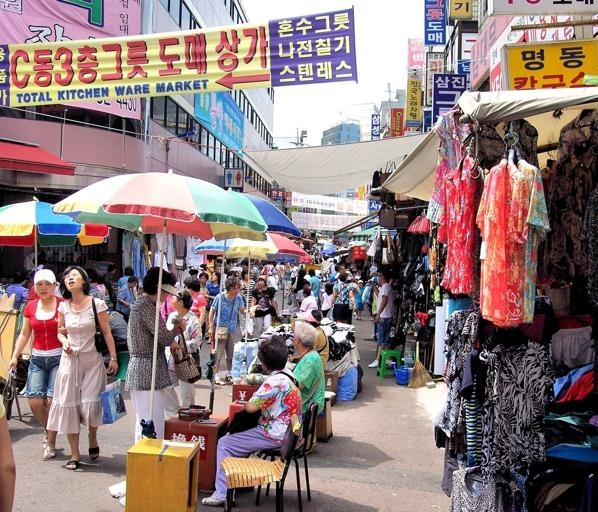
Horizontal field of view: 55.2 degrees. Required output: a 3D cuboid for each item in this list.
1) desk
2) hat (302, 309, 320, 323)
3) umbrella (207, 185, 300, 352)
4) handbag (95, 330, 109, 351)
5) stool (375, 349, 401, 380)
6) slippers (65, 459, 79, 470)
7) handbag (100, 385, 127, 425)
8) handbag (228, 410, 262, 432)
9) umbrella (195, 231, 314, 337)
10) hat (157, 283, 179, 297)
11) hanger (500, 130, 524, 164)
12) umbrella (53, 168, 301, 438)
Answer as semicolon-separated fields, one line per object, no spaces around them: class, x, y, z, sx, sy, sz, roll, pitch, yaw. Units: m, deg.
desk;-1.015;1.881;6.205;0.657;1.049;1.312;-1;-1;27
hat;0.255;1.182;11.219;0.289;0.118;0.231;6;23;-11
umbrella;-0.969;0.251;10.465;1.969;2.201;2.278;2;-2;1
handbag;-2.227;0.940;6.426;0.083;0.261;0.192;-3;-6;6
stool;1.960;2.347;12.385;0.484;0.588;0.520;0;-4;-11
slippers;-2.488;2.283;6.285;0.158;0.088;0.183;1;-1;-23
handbag;-2.163;1.634;6.619;0.139;0.502;0.477;-5;-3;2
handbag;-0.529;1.603;5.529;0.241;0.225;0.107;-17;-38;34
umbrella;-1.113;0.656;13.754;2.649;2.318;3.069;4;0;21
hat;-1.445;0.391;6.359;0.152;0.060;0.115;20;1;-17
hanger;1.541;-0.764;4.121;0.114;0.142;0.482;-1;33;10
umbrella;-1.497;0.755;6.468;2.506;3.208;2.798;-2;-7;-6
